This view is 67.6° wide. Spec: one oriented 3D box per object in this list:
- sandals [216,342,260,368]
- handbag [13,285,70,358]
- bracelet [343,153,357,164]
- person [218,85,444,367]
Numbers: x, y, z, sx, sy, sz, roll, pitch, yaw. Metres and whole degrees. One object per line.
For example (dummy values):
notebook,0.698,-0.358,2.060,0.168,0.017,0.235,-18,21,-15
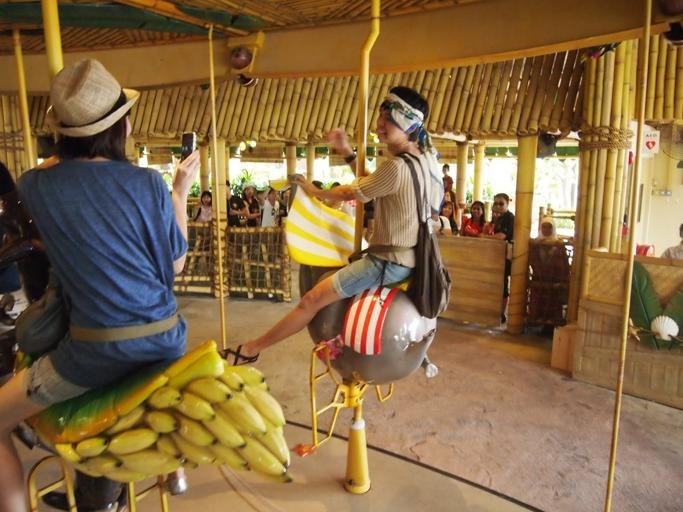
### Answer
sandals,-0.617,0.591,2.994,0.243,0.068,0.116,2,35,-14
handbag,-1.386,0.318,2.405,0.122,0.331,0.251,24,22,-31
bracelet,0.047,-0.619,3.203,0.082,0.062,0.080,-23,15,1
person,0.097,-0.221,2.986,1.028,1.511,0.374,2,9,8
